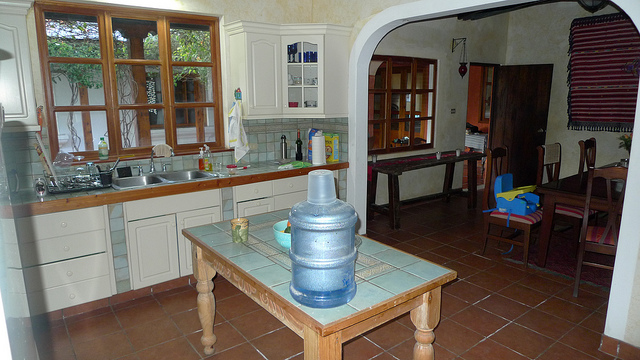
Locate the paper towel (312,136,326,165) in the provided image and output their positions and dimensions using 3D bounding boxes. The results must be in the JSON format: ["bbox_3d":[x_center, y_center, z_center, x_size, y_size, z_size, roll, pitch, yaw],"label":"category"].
[{"bbox_3d":[-0.028,-0.487,6.515,0.228,0.433,0.228,-5,17,0],"label":"paper towel"}]

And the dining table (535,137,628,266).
[{"bbox_3d":[3.922,0.349,6.036,2.159,1.380,1.219,-14,17,-41],"label":"dining table"}]

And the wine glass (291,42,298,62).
[{"bbox_3d":[-0.399,-1.997,6.322,0.098,0.286,0.125,-3,17,6],"label":"wine glass"}]

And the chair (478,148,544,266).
[{"bbox_3d":[2.969,0.358,6.220,0.843,1.642,1.182,3,18,25],"label":"chair"}]

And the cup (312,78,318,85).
[{"bbox_3d":[-0.084,-1.557,6.393,0.109,0.098,0.098,-1,5,-12],"label":"cup"}]

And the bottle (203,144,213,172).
[{"bbox_3d":[-1.694,-0.325,6.066,0.141,0.362,0.330,-9,17,-12],"label":"bottle"}]

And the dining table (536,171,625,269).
[{"bbox_3d":[3.612,0.240,6.022,1.282,1.066,2.484,5,10,40],"label":"dining table"}]

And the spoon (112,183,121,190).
[{"bbox_3d":[-2.673,0.090,5.286,0.084,0.048,0.325,-12,17,-29],"label":"spoon"}]

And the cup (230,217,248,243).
[{"bbox_3d":[-0.860,0.537,4.286,0.241,0.220,0.231,0,8,0],"label":"cup"}]

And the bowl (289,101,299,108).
[{"bbox_3d":[-0.424,-1.196,6.394,0.111,0.058,0.099,1,3,30],"label":"bowl"}]

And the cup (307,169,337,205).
[{"bbox_3d":[0.013,0.059,3.572,0.229,0.287,0.196,-18,21,-39],"label":"cup"}]

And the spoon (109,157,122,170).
[{"bbox_3d":[-2.803,-0.211,5.527,0.177,0.161,0.308,-11,17,-24],"label":"spoon"}]
